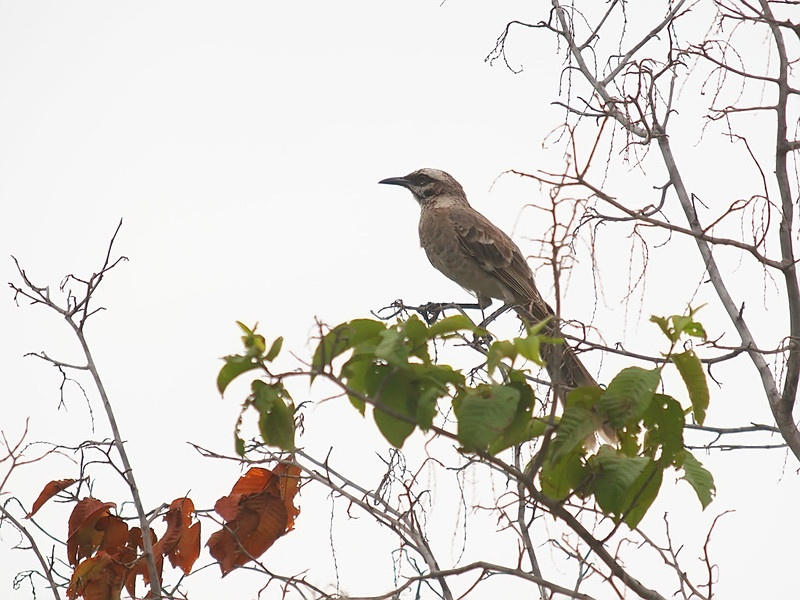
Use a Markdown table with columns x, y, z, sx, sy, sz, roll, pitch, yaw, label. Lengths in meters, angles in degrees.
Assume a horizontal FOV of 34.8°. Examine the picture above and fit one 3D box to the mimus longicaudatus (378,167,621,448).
| x | y | z | sx | sy | sz | roll | pitch | yaw | label |
| --- | --- | --- | --- | --- | --- | --- | --- | --- | --- |
| 0.643 | -0.090 | 7.406 | 1.435 | 0.479 | 1.049 | 15 | -102 | -17 | mimus longicaudatus |
